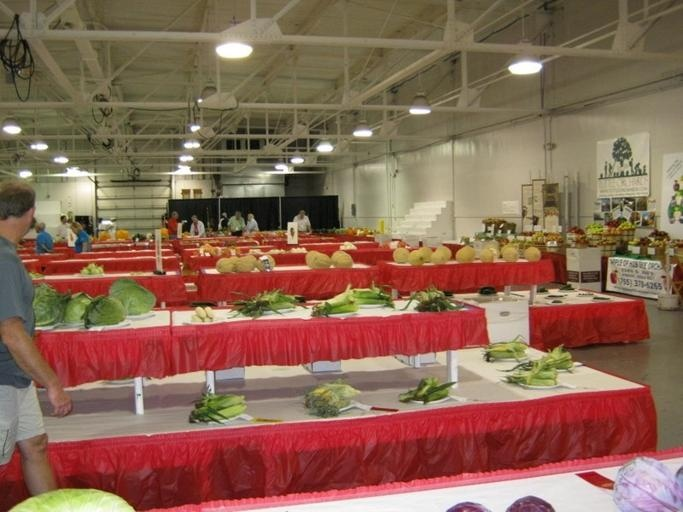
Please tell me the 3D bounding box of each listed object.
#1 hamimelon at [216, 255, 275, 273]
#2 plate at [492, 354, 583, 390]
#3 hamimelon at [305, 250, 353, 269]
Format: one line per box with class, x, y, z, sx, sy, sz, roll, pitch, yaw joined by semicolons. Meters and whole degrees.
hamimelon;-1.101;0.093;5.856;0.499;0.128;0.259;-2;-1;-16
plate;1.372;0.832;3.680;0.278;0.083;0.254;4;3;12
hamimelon;-0.163;0.046;5.884;0.414;0.141;0.248;-1;3;29
